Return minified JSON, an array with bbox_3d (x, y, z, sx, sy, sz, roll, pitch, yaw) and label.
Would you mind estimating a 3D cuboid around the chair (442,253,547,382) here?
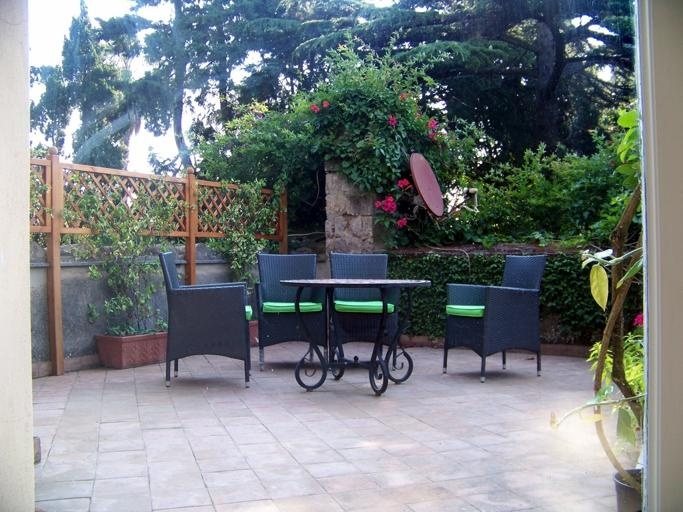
[{"bbox_3d":[1.399,0.533,5.199,0.766,1.117,0.657,3,-1,-18],"label":"chair"}]
